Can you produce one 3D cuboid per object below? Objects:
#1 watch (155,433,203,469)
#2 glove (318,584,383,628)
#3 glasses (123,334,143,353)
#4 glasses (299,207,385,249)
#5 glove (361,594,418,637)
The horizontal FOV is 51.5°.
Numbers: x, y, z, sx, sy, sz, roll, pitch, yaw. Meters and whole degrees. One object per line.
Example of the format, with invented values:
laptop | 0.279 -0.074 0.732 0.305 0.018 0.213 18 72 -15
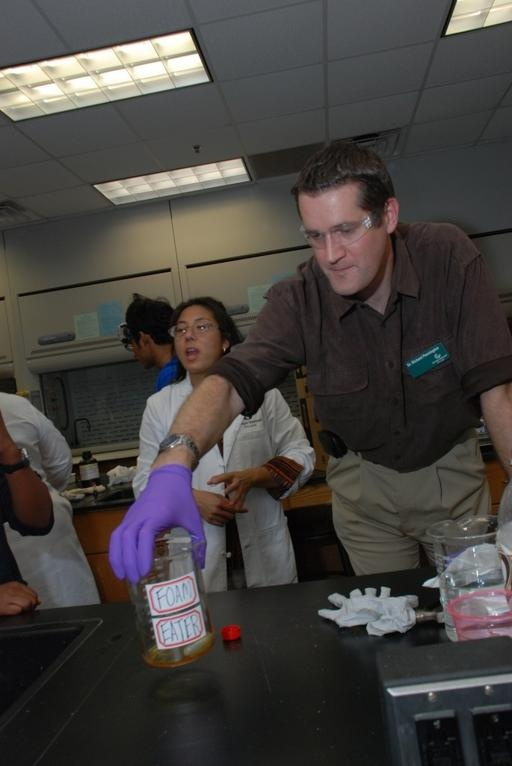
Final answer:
watch | -0.128 0.115 0.959 0.074 0.047 0.073 23 -38 -10
glove | 0.143 0.356 0.831 0.074 0.018 0.059 -7 30 22
glasses | -0.622 -0.192 2.715 0.091 0.121 0.095 -2 5 -12
glasses | 0.172 -0.315 1.119 0.154 0.070 0.083 -10 0 23
glove | 0.199 0.351 0.782 0.063 0.055 0.055 -11 0 -38
